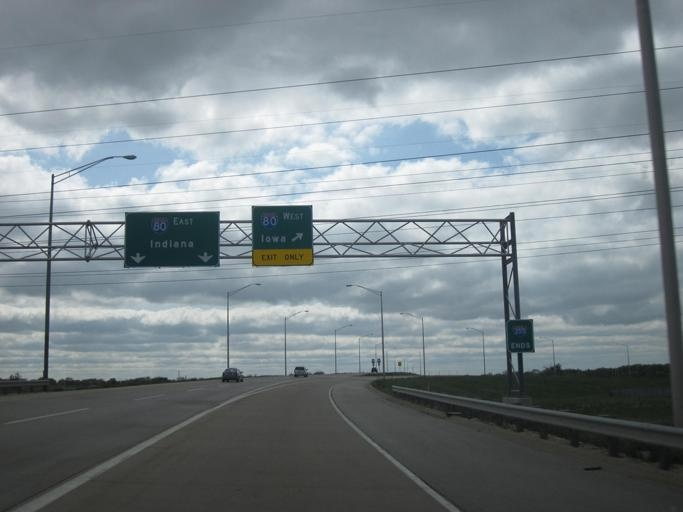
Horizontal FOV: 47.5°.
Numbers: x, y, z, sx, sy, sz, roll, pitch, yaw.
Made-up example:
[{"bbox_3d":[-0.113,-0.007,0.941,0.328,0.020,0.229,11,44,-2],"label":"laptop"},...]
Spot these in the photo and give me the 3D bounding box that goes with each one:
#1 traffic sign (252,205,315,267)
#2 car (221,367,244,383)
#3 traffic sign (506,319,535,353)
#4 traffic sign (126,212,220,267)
[{"bbox_3d":[-2.704,-0.923,35.540,2.770,2.855,0.281,0,0,6],"label":"traffic sign"},{"bbox_3d":[-10.049,10.977,71.563,1.367,1.180,2.665,0,-5,6],"label":"car"},{"bbox_3d":[8.105,3.636,35.212,1.288,1.527,0.031,-4,-3,32],"label":"traffic sign"},{"bbox_3d":[-7.811,-0.680,35.203,2.839,1.796,0.393,0,-5,-1],"label":"traffic sign"}]
